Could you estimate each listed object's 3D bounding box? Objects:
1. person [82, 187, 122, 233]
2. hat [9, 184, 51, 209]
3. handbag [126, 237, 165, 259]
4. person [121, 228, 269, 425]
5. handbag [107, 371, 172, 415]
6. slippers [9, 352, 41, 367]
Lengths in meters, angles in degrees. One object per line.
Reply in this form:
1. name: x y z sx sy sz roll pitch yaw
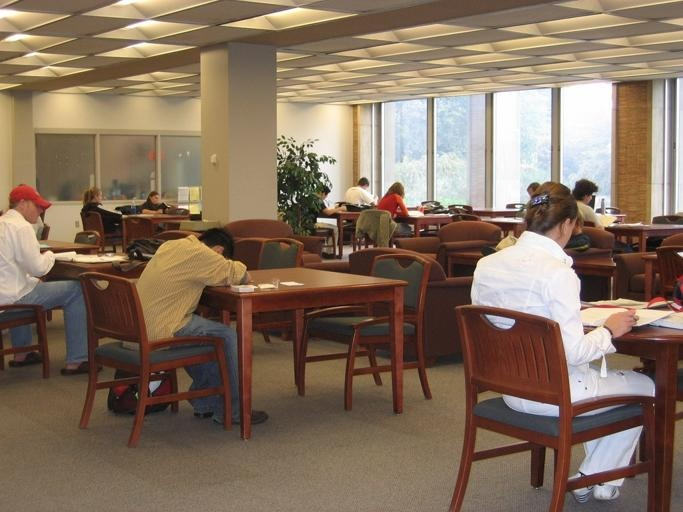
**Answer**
1. person: -4.761 -0.979 12.177 0.957 0.827 0.708 -5 12 2
2. hat: -2.708 -0.539 5.312 0.489 0.221 0.283 -2 8 -27
3. handbag: -1.701 -0.067 5.165 0.314 0.099 0.299 -2 5 -37
4. person: -0.935 0.495 3.918 0.773 1.350 0.499 -2 7 -17
5. handbag: -1.467 0.981 4.414 0.462 0.341 0.327 2 2 19
6. slippers: -2.917 0.963 5.495 0.112 0.082 0.281 7 9 42
